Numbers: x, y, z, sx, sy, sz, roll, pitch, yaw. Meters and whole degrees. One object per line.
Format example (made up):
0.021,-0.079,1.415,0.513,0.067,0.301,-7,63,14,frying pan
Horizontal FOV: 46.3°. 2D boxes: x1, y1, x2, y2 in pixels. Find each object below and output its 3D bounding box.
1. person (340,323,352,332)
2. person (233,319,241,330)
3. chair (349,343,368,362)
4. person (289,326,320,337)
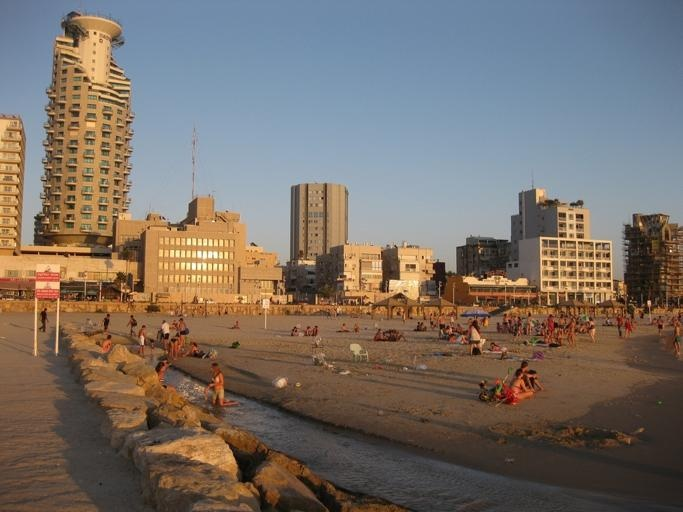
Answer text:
0.344,6.717,75.742,0.798,0.911,0.585,14,27,43,person
-10.063,6.507,76.171,0.692,1.080,0.934,3,-9,-38,person
1.077,5.545,46.143,0.789,1.425,0.974,1,-27,-11,chair
-3.055,6.131,64.233,1.614,0.644,1.265,0,-3,-5,person
